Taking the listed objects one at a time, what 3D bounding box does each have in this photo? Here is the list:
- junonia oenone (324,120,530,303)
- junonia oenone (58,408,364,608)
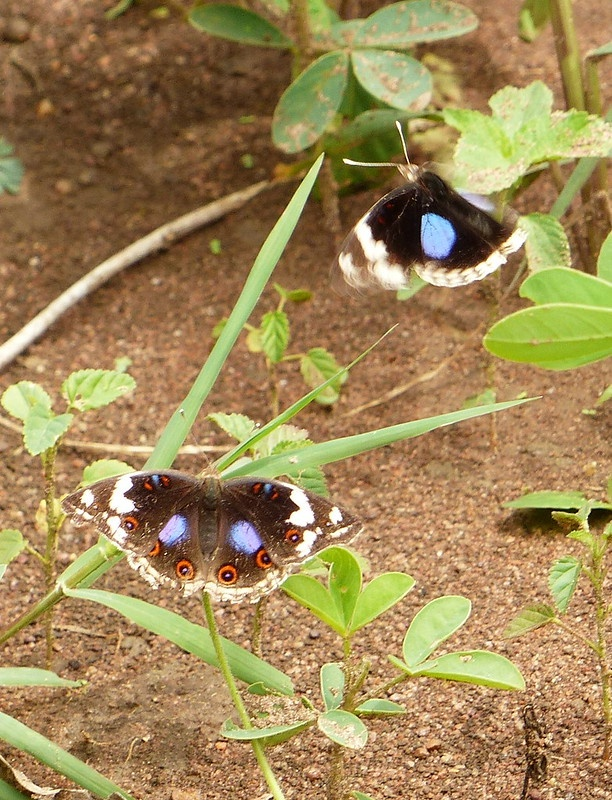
[{"bbox_3d":[0.207,-0.329,1.672,0.307,0.294,0.140,-22,43,30],"label":"junonia oenone"},{"bbox_3d":[-0.143,0.204,1.366,0.497,0.184,0.023,8,-14,-32],"label":"junonia oenone"}]
